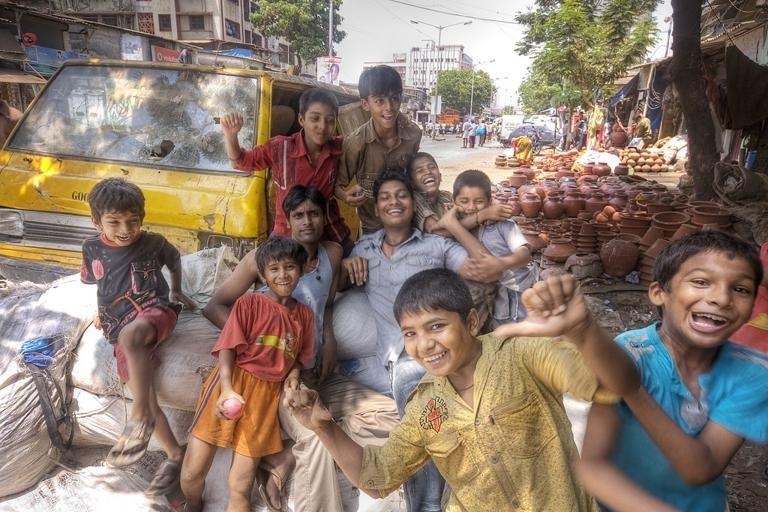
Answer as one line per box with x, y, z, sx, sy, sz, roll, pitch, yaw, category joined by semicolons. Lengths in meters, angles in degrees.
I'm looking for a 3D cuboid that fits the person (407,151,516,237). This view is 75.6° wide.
0.465;-0.578;4.145;0.966;0.513;1.323;-18;10;2;person

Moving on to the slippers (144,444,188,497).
-1.545;1.497;3.436;0.119;0.134;0.362;25;10;-1;slippers

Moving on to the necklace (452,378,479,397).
0.416;0.674;2.538;0.112;0.083;0.040;-16;29;36;necklace

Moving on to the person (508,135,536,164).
4.561;-3.466;16.153;0.579;0.953;1.579;5;10;16;person

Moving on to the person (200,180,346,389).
-0.765;0.523;3.925;1.182;2.237;0.676;-1;42;-6;person

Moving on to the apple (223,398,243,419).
-0.938;0.942;3.059;0.083;0.082;0.080;-36;9;33;apple

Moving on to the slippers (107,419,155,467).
-1.708;1.284;3.449;0.231;0.416;0.164;30;17;13;slippers

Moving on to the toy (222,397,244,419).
-0.937;0.947;3.114;0.121;0.116;0.121;-25;8;48;toy
